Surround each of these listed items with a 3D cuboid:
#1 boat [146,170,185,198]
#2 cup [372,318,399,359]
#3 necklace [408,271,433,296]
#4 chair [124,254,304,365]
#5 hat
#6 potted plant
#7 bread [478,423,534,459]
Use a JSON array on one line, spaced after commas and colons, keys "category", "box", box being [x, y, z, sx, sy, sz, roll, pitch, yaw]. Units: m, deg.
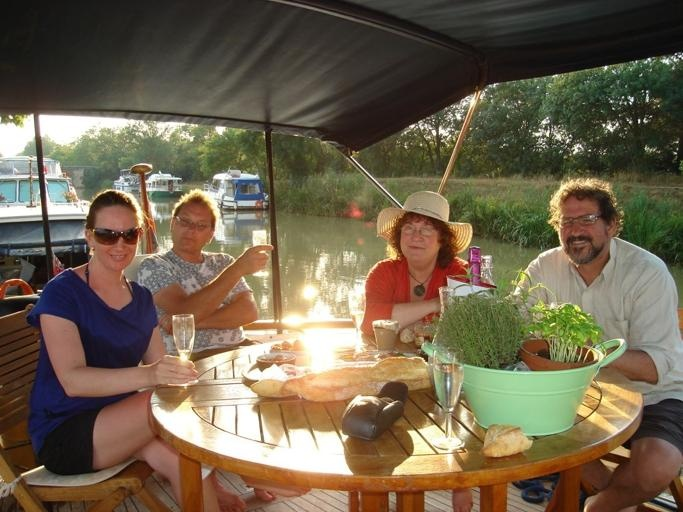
[{"category": "boat", "box": [-5.648, -2.341, 15.474, 0.768, 0.537, 1.438, 0, 2, -12]}, {"category": "cup", "box": [0.189, 0.386, 2.213, 0.126, 0.134, 0.123, 0, 1, 0]}, {"category": "necklace", "box": [0.485, 0.168, 3.009, 0.185, 0.020, 0.232, 2, 43, 4]}, {"category": "chair", "box": [-0.817, 0.239, 2.991, 0.602, 0.560, 0.775, 5, 2, -41]}, {"category": "hat", "box": [0.475, -0.296, 3.252, 0.503, 0.201, 0.515, -10, -39, 47]}, {"category": "potted plant", "box": [0.698, 0.241, 1.571, 0.211, 0.158, 0.216, 0, -2, -10]}, {"category": "bread", "box": [0.502, 0.536, 1.434, 0.197, 0.084, 0.076, -4, 9, -24]}]
